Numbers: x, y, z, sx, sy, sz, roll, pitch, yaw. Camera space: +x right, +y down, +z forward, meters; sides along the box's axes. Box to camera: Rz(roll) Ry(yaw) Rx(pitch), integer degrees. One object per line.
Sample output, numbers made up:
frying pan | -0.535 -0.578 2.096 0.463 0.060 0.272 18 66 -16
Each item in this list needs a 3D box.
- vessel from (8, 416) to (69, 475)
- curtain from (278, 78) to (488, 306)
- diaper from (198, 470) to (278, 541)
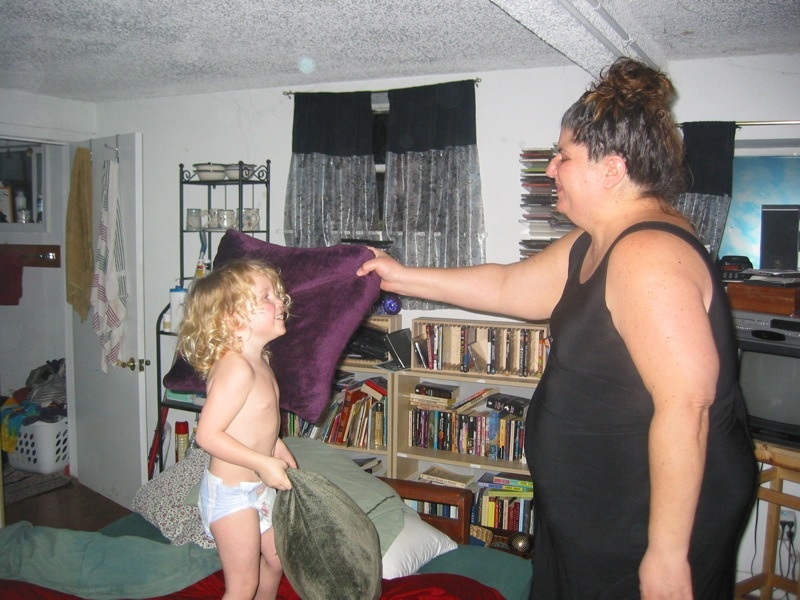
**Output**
vessel | -2.575 1.050 5.091 0.467 0.305 0.355 4 5 24
curtain | -0.057 -0.606 3.749 1.470 1.316 0.116 2 10 15
diaper | -0.601 0.712 2.582 0.233 0.214 0.313 -8 0 -9
